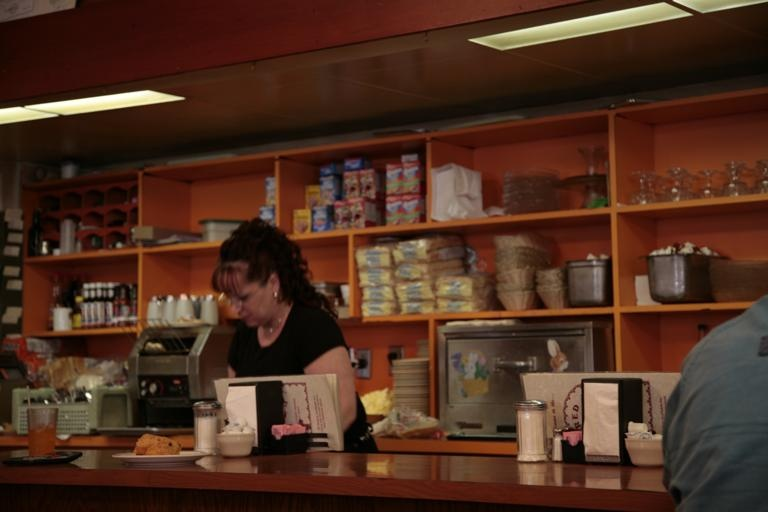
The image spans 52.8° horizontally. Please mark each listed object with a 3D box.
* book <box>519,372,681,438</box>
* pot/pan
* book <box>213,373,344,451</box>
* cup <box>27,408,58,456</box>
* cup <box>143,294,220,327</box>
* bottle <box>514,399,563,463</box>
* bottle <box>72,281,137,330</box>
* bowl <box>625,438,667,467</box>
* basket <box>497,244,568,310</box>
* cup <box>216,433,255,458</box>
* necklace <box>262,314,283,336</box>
[{"bbox_3d":[0.798,0.546,2.821,0.424,0.250,0.230,-4,-6,40],"label":"book"},{"bbox_3d":[1.621,0.125,4.256,0.270,0.184,0.382,-3,-4,44],"label":"pot/pan"},{"bbox_3d":[-0.319,0.625,3.152,0.444,0.346,0.100,0,10,10],"label":"book"},{"bbox_3d":[-1.437,0.730,3.247,0.105,0.198,0.176,2,-9,-24],"label":"cup"},{"bbox_3d":[-1.421,0.379,5.549,0.441,0.142,0.294,-1,-3,38],"label":"cup"},{"bbox_3d":[0.564,0.662,2.926,0.143,0.222,0.099,0,-9,-10],"label":"bottle"},{"bbox_3d":[-2.164,0.394,6.000,0.390,0.304,0.197,-2,-11,12],"label":"bottle"},{"bbox_3d":[0.938,0.708,2.808,0.119,0.112,0.065,-4,-8,12],"label":"bowl"},{"bbox_3d":[0.886,0.128,4.738,0.442,0.372,0.346,1,-12,-3],"label":"basket"},{"bbox_3d":[-0.609,0.760,3.132,0.131,0.064,0.120,0,-12,0],"label":"cup"},{"bbox_3d":[-0.521,0.325,3.588,0.074,0.071,0.089,0,-10,-3],"label":"necklace"}]
